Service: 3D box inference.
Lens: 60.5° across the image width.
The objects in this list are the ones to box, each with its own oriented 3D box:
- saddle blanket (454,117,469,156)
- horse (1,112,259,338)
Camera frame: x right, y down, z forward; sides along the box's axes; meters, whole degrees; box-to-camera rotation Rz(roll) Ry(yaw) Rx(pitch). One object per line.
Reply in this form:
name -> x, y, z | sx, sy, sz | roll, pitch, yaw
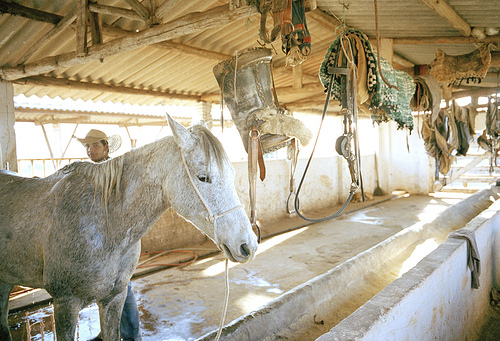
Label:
saddle blanket -> 3.660, -0.586, 7.397 | 0.216, 0.675, 0.450 | 10, 14, 44
horse -> -1.220, 0.554, 3.962 | 2.331, 2.138, 0.644 | 0, 10, -2
